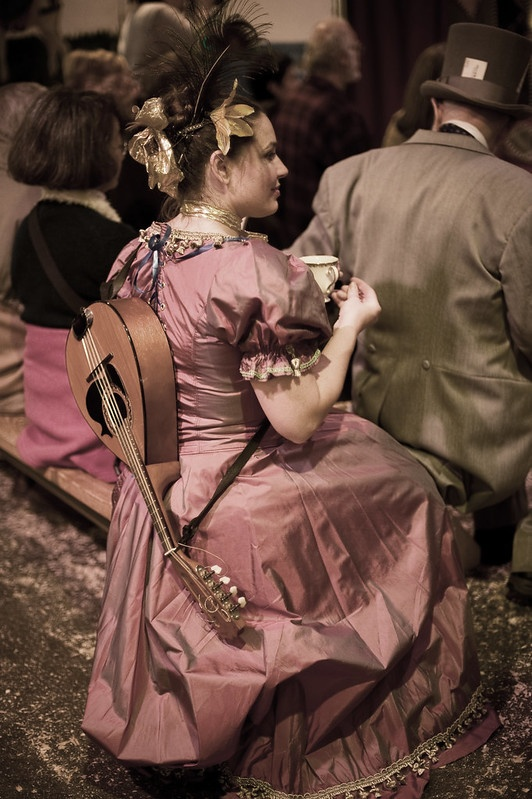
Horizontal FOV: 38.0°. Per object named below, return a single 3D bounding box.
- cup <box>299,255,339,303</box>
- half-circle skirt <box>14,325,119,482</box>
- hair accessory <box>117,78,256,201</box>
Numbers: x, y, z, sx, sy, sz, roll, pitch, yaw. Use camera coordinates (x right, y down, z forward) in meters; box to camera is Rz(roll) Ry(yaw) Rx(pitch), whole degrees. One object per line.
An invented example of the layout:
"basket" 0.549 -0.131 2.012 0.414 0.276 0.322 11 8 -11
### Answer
"cup" 0.131 -0.261 1.672 0.090 0.079 0.116 -7 21 -15
"half-circle skirt" -0.649 0.032 2.631 0.341 0.596 0.149 3 9 29
"hair accessory" -0.170 -0.505 1.552 0.271 0.194 0.101 -26 -2 -1
